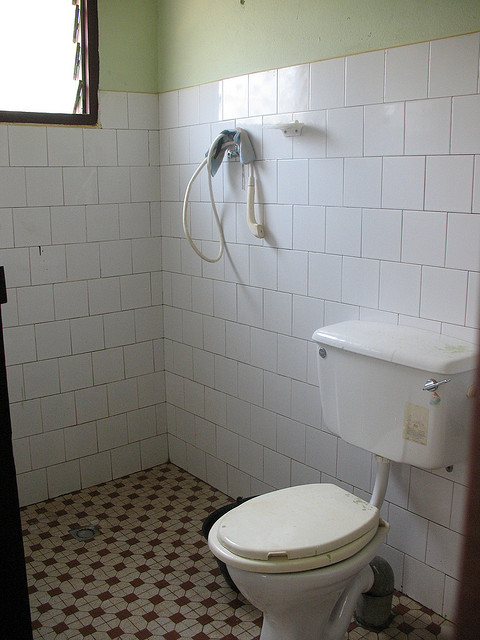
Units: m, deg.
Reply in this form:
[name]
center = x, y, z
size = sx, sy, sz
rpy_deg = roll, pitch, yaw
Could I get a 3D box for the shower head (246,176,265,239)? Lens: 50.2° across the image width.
[shower head]
center = 0.045, -0.479, 2.210
size = 0.075, 0.256, 0.123
rpy_deg = -8, 12, -36

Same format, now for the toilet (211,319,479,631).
[toilet]
center = 0.256, 0.398, 1.917
size = 0.996, 1.296, 0.672
rpy_deg = -9, 16, -34

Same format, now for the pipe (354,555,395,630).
[pipe]
center = 0.476, 0.932, 1.781
size = 0.135, 0.230, 0.157
rpy_deg = 4, 9, -3

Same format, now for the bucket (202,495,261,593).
[bucket]
center = -0.068, 0.824, 2.020
size = 0.251, 0.139, 0.314
rpy_deg = -10, 17, -2
